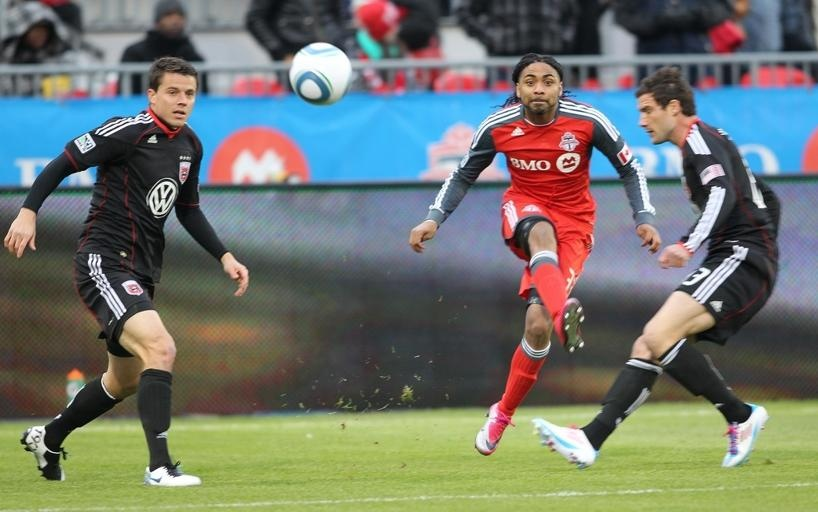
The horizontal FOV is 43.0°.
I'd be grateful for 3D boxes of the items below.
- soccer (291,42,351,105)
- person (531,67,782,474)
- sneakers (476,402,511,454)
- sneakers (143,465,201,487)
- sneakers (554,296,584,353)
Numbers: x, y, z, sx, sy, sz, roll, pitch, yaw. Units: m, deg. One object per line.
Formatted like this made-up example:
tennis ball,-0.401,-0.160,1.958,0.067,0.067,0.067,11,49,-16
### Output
soccer,-0.756,-1.592,9.308,0.578,0.494,0.545,-3,1,22
person,2.180,0.131,7.926,1.277,2.970,1.569,6,16,18
sneakers,0.695,1.431,8.435,0.235,0.179,0.517,-33,22,23
sneakers,-1.749,1.625,7.726,0.431,0.146,0.160,-1,-7,8
sneakers,1.222,0.502,7.806,0.197,0.462,0.249,-1,1,-32
